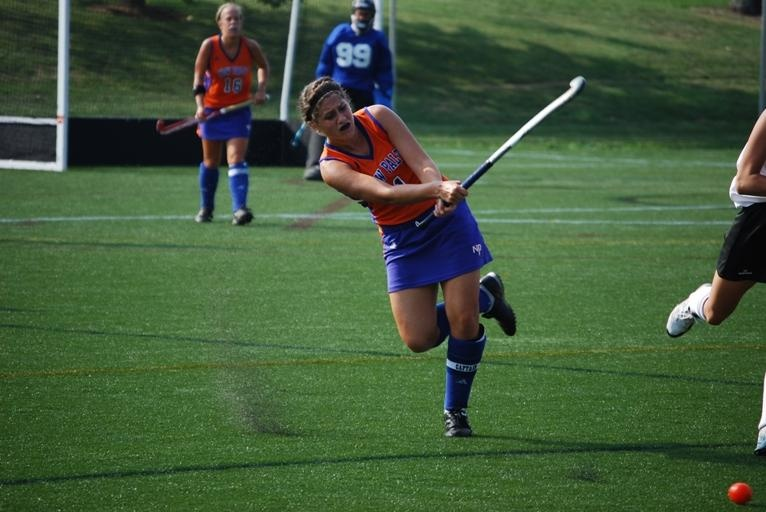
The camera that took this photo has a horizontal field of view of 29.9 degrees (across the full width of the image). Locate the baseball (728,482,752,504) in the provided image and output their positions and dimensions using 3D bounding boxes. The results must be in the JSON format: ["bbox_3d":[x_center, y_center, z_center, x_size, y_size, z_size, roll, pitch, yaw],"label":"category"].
[{"bbox_3d":[2.748,1.848,11.099,0.179,0.156,0.157,15,6,-1],"label":"baseball"}]

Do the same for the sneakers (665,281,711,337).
[{"bbox_3d":[2.699,0.475,12.543,0.215,0.622,0.255,46,50,8],"label":"sneakers"}]

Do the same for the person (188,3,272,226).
[{"bbox_3d":[-1.721,-1.585,16.118,0.804,2.518,0.548,3,16,-6],"label":"person"}]

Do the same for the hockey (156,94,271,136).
[{"bbox_3d":[-1.883,-1.636,16.108,1.349,0.170,0.218,-18,5,-15],"label":"hockey"}]

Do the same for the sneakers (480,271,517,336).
[{"bbox_3d":[1.052,0.440,12.447,0.232,0.613,0.274,-21,28,17],"label":"sneakers"}]
